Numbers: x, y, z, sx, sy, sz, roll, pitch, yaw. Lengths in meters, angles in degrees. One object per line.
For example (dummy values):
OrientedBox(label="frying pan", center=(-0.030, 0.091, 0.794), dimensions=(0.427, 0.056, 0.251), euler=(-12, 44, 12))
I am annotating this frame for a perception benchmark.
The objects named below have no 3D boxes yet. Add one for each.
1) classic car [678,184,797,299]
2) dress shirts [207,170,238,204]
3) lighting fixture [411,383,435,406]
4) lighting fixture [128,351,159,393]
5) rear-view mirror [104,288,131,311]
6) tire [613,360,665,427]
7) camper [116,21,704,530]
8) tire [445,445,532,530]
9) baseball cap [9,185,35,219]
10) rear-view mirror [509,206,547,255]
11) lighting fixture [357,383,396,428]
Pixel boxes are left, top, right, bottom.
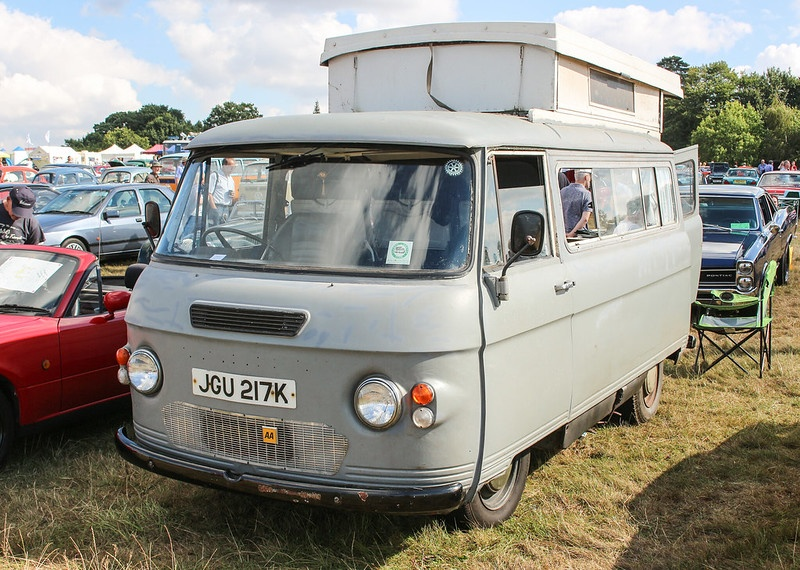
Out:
OrientedBox(label="classic car", center=(6.690, -0.966, 11.513), dimensions=(1.943, 1.505, 3.972), euler=(1, 7, 30))
OrientedBox(label="dress shirts", center=(-1.362, -0.749, 4.537), dimensions=(0.127, 0.251, 0.228), euler=(-6, 0, 37))
OrientedBox(label="lighting fixture", center=(0.140, 0.680, 3.705), dimensions=(0.126, 0.139, 0.039), euler=(0, 6, 3))
OrientedBox(label="lighting fixture", center=(-1.835, 0.622, 4.286), dimensions=(0.274, 0.322, 0.050), euler=(6, 8, 40))
OrientedBox(label="rear-view mirror", center=(-2.811, 0.152, 5.927), dimensions=(0.164, 0.188, 0.231), euler=(-13, 5, 0))
OrientedBox(label="tire", center=(2.802, 1.117, 7.019), dimensions=(0.347, 0.986, 0.937), euler=(0, 8, 39))
OrientedBox(label="camper", center=(0.665, -0.687, 6.181), dimensions=(3.301, 3.784, 6.194), euler=(2, 7, 35))
OrientedBox(label="tire", center=(0.699, 1.582, 4.569), dimensions=(0.522, 0.173, 0.572), euler=(-23, 12, 2))
OrientedBox(label="baseball cap", center=(-5.934, -1.314, 9.386), dimensions=(0.507, 0.466, 0.288), euler=(8, 11, 36))
OrientedBox(label="rear-view mirror", center=(0.857, -0.355, 4.027), dimensions=(0.214, 0.290, 0.140), euler=(2, 9, 9))
OrientedBox(label="lighting fixture", center=(-0.137, 0.742, 3.725), dimensions=(0.252, 0.280, 0.054), euler=(2, 10, 10))
